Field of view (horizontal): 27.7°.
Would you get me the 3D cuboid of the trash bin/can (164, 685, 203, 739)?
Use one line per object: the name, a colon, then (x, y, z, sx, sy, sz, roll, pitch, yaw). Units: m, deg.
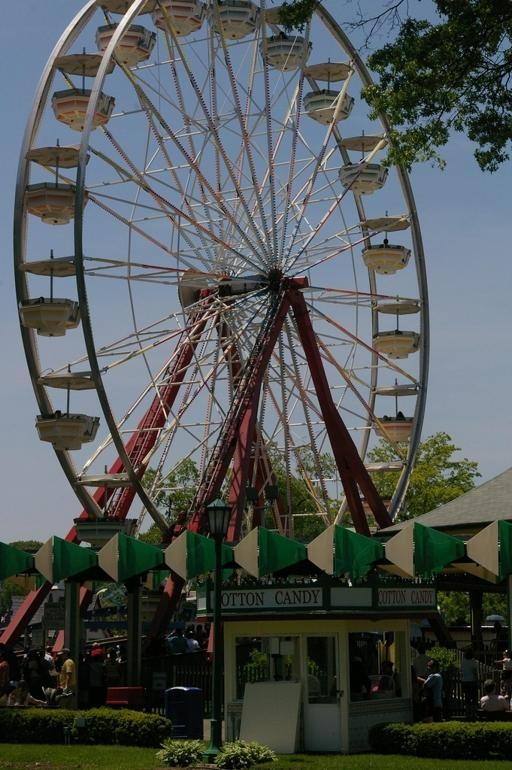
trash bin/can: (-0.913, 4.211, 13.248, 0.442, 0.673, 0.480, -1, -10, -7)
